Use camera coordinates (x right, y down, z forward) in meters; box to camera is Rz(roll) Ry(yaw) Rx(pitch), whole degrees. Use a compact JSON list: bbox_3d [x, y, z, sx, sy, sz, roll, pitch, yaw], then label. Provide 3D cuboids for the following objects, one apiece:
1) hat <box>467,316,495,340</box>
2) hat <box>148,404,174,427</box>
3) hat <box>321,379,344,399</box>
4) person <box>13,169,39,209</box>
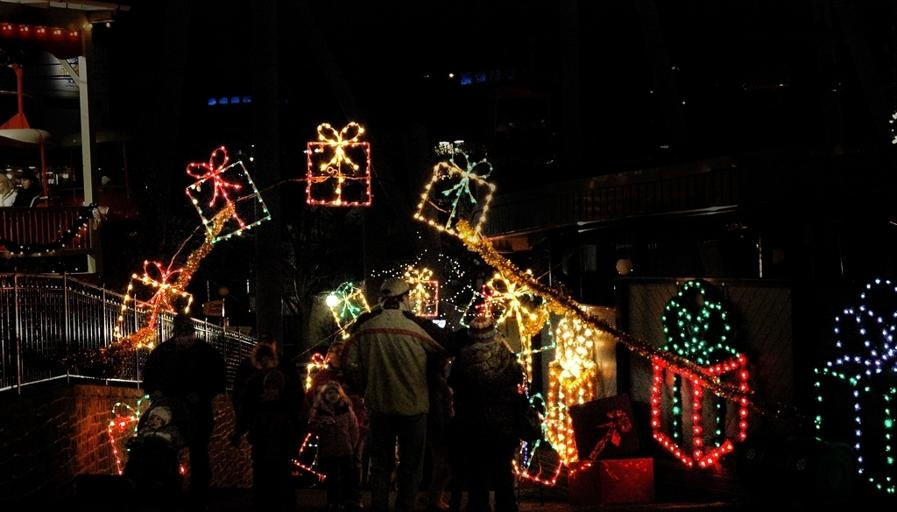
[{"bbox_3d":[0.573,1.243,15.890,0.426,0.233,0.425,7,21,34],"label":"hat"},{"bbox_3d":[-5.417,2.983,16.678,0.310,0.325,0.408,20,-11,3],"label":"hat"},{"bbox_3d":[-2.197,2.491,16.829,0.283,0.288,0.383,0,-10,-8],"label":"hat"},{"bbox_3d":[-10.924,-1.778,23.097,0.619,1.216,2.719,4,-3,-25],"label":"person"}]
